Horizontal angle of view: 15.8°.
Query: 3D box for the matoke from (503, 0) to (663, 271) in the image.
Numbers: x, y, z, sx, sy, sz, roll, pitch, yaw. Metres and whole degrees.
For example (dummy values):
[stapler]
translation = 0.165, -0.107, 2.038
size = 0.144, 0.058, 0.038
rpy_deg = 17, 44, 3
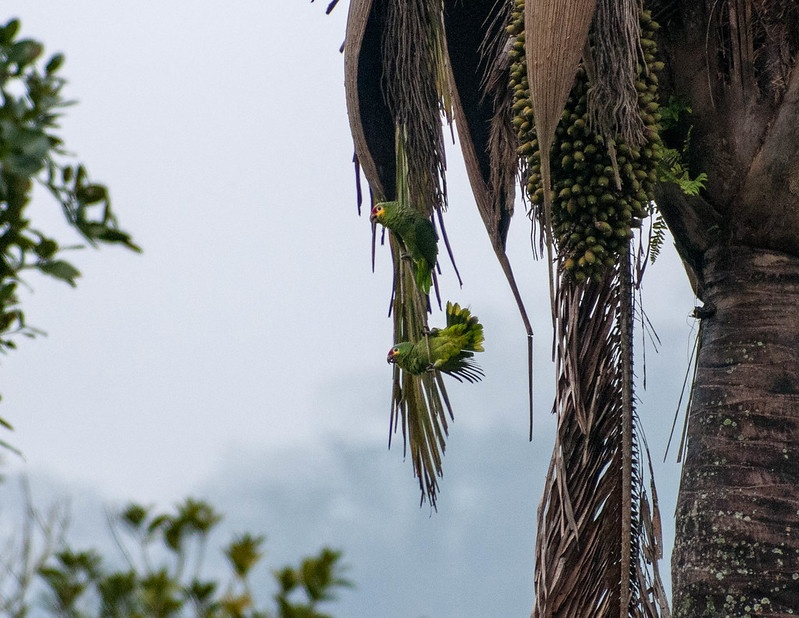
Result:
[matoke]
translation = 1.153, -1.127, 18.019
size = 0.983, 1.558, 1.257
rpy_deg = 0, -44, 5
